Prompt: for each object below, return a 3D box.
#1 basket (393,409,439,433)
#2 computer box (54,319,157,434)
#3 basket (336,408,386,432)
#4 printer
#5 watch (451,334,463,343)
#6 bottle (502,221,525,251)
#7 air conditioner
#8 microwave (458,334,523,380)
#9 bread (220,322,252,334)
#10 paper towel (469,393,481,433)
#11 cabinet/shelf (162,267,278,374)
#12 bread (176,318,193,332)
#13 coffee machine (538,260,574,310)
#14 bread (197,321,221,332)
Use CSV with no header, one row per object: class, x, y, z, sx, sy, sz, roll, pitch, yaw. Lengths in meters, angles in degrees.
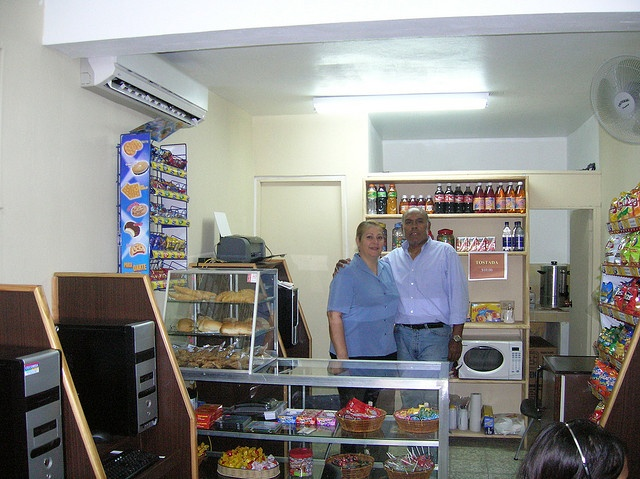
basket,0.486,0.879,2.638,0.157,0.049,0.150,1,-4,-20
computer box,-1.120,0.698,2.660,0.540,0.481,0.300,-1,-6,5
basket,0.219,0.905,2.697,0.158,0.048,0.148,0,-2,-23
printer,-0.650,-0.008,4.441,0.452,0.322,0.440,0,-1,11
watch,1.019,0.739,3.870,0.066,0.060,0.040,8,32,-19
bottle,1.925,-0.035,5.202,0.205,0.292,0.205,-1,1,0
air conditioner,-1.242,-1.090,3.820,0.304,0.395,0.995,0,1,24
microwave,1.654,1.036,5.158,0.627,0.374,0.391,0,-3,10
bread,-0.481,0.506,3.009,0.130,0.040,0.093,-4,-4,21
paper towel,1.492,1.631,4.987,0.115,0.376,0.133,-1,2,8
cabinet/shelf,-0.516,0.439,3.267,0.763,0.694,0.547,0,-4,11
bread,-0.798,0.501,3.115,0.092,0.050,0.070,-1,37,15
coffee machine,2.772,0.539,6.153,0.495,0.519,0.501,1,-1,35
bread,-0.644,0.504,3.068,0.154,0.070,0.031,0,2,25
